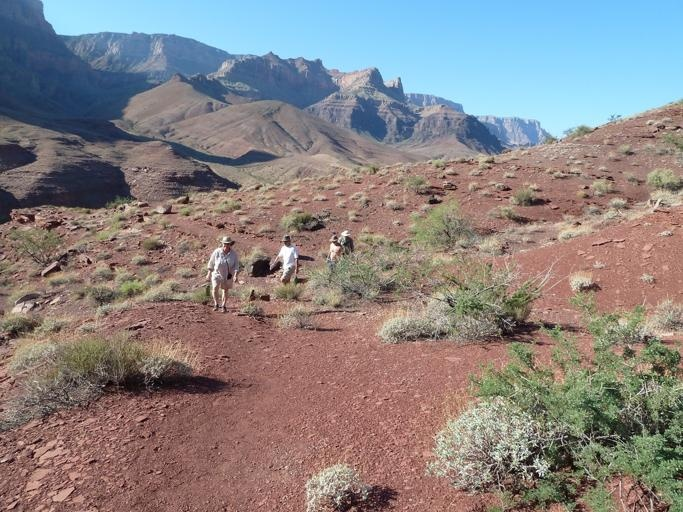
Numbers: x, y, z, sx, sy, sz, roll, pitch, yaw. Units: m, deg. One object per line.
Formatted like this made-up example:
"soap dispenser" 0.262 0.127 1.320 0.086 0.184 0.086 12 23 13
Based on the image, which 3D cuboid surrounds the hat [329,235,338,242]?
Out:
"hat" -0.233 -0.536 13.992 0.330 0.099 0.299 -1 -5 6
